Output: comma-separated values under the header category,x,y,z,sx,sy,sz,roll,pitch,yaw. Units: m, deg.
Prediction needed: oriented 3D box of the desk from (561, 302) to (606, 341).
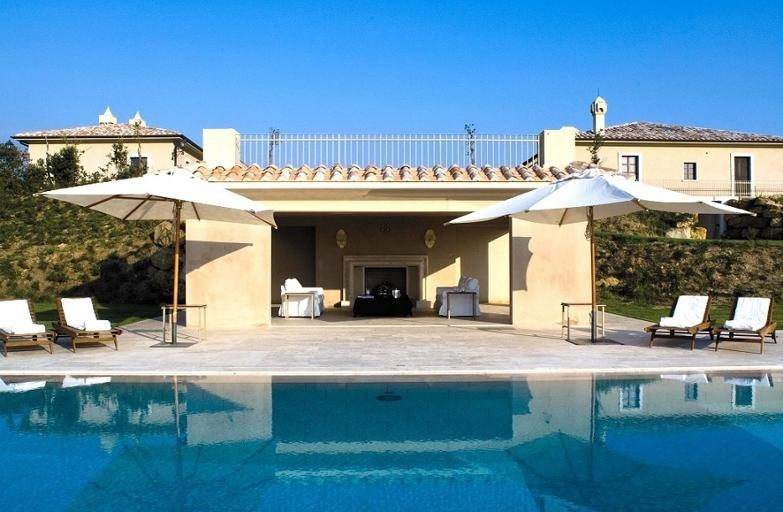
category,x,y,z,sx,sy,sz,roll,pitch,yaw
desk,5.874,2.039,22.736,1.427,0.971,1.332,3,-4,-20

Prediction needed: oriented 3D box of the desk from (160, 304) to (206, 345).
category,x,y,z,sx,sy,sz,roll,pitch,yaw
desk,-6.529,2.167,23.244,1.634,1.357,1.546,0,-4,-8

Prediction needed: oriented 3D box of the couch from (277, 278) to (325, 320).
category,x,y,z,sx,sy,sz,roll,pitch,yaw
couch,-3.416,1.674,27.617,1.369,0.989,2.011,0,1,-3

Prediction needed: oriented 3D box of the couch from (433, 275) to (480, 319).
category,x,y,z,sx,sy,sz,roll,pitch,yaw
couch,2.424,1.480,28.032,1.397,1.297,2.139,-1,2,-5

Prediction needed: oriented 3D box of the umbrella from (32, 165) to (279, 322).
category,x,y,z,sx,sy,sz,roll,pitch,yaw
umbrella,-6.455,-0.460,21.600,5.344,4.129,2.955,-2,4,-10
